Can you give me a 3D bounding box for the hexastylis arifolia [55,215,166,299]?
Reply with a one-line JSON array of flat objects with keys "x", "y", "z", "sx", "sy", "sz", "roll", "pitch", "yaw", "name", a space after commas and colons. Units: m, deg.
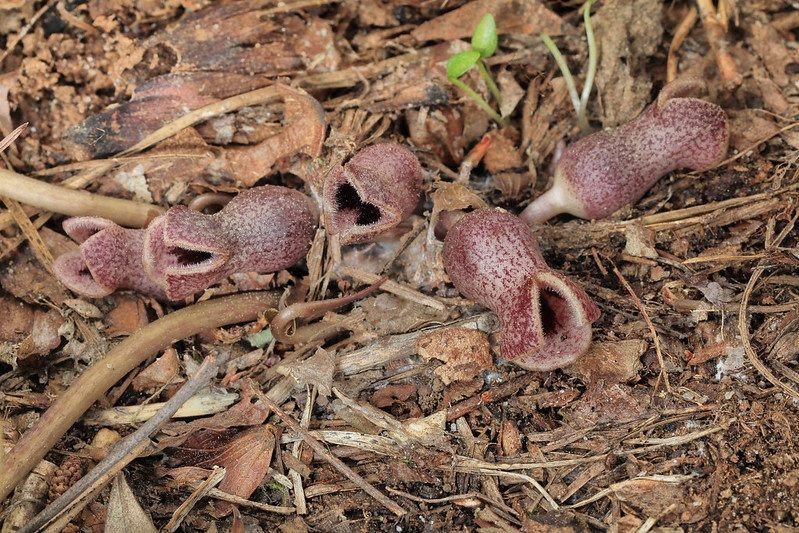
[{"x": -1.782, "y": -0.049, "z": 4.717, "sx": 0.654, "sy": 0.464, "sz": 0.483, "roll": 3, "pitch": 82, "yaw": 4, "name": "hexastylis arifolia"}]
